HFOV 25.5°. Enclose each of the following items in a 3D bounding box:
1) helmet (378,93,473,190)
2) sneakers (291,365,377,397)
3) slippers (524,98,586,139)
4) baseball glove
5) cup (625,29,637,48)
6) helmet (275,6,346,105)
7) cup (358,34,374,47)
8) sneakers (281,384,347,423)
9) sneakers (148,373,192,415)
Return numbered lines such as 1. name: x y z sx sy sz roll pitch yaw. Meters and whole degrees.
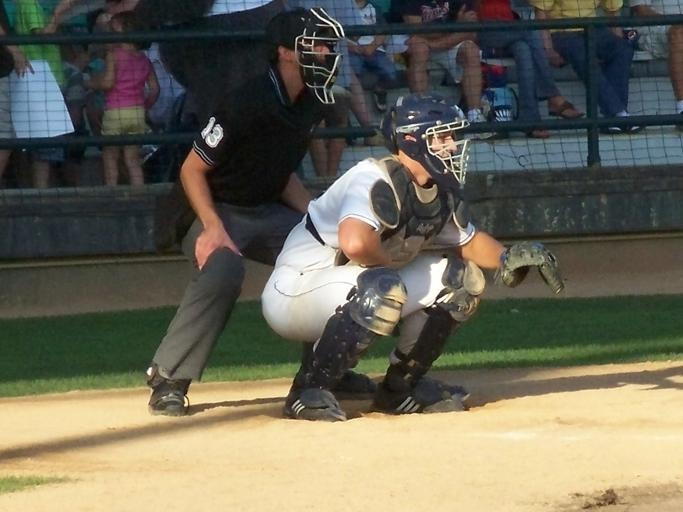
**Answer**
1. helmet: 0.516 -0.650 8.398 0.520 0.485 0.471 6 14 11
2. sneakers: -0.021 0.724 8.823 0.568 0.229 0.187 2 7 -9
3. slippers: 1.671 -1.057 11.479 0.592 0.154 0.222 -3 37 2
4. baseball glove: 1.042 0.060 8.311 0.349 0.258 0.195 2 8 5
5. cup: 2.262 -1.678 11.619 0.076 0.150 0.108 -9 8 -14
6. helmet: -0.117 -1.176 8.834 0.512 0.609 0.461 -4 3 14
7. cup: 0.173 -1.587 11.101 0.093 0.033 0.070 -9 -18 18
8. sneakers: -0.151 0.817 8.241 0.400 0.181 0.192 4 8 20
9. sneakers: -0.964 0.770 8.364 0.227 0.230 0.166 0 8 -7
